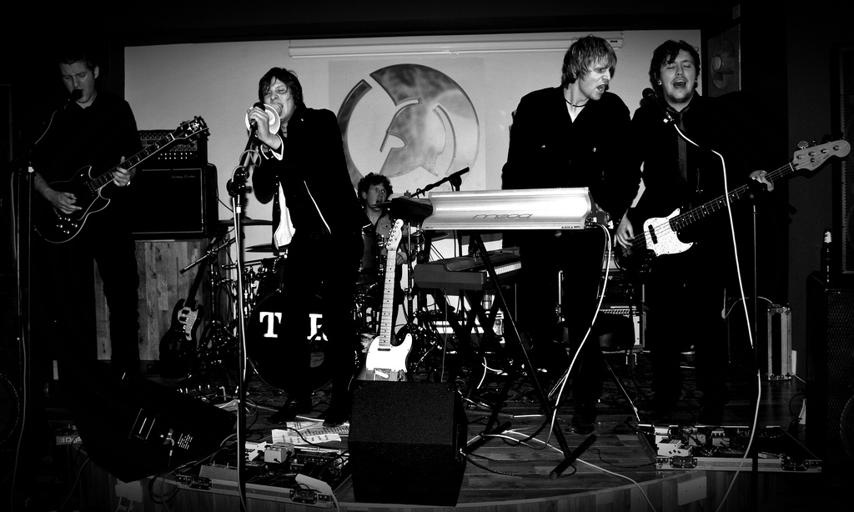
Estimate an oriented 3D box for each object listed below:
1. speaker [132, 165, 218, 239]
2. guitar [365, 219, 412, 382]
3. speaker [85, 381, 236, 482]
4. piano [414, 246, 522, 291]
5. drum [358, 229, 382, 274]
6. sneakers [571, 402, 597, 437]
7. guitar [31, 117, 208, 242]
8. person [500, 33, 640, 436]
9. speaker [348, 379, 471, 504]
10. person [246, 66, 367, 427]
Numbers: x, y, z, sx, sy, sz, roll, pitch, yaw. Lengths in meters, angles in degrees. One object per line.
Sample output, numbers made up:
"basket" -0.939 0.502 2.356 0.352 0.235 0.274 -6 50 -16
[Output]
"speaker" -2.435 -0.515 7.987 0.758 0.672 0.406 0 1 -3
"guitar" -0.298 0.310 6.417 0.346 1.228 0.420 4 -7 -17
"speaker" -1.987 1.251 6.152 1.119 0.695 0.272 0 -8 15
"piano" 0.301 0.103 6.335 0.722 0.317 0.559 -4 -9 40
"drum" -0.534 -0.049 7.970 0.087 0.350 0.255 2 1 43
"sneakers" 1.211 1.269 6.575 0.263 0.276 0.246 7 -15 -15
"guitar" -2.643 -0.556 7.158 1.422 0.918 0.432 -1 -7 19
"person" 1.063 -0.155 6.346 0.989 2.969 0.795 0 -7 13
"speaker" 0.008 1.236 5.976 1.034 1.014 0.768 -1 -8 5
"person" -0.947 -0.081 6.680 0.873 2.800 0.420 3 -7 -13
